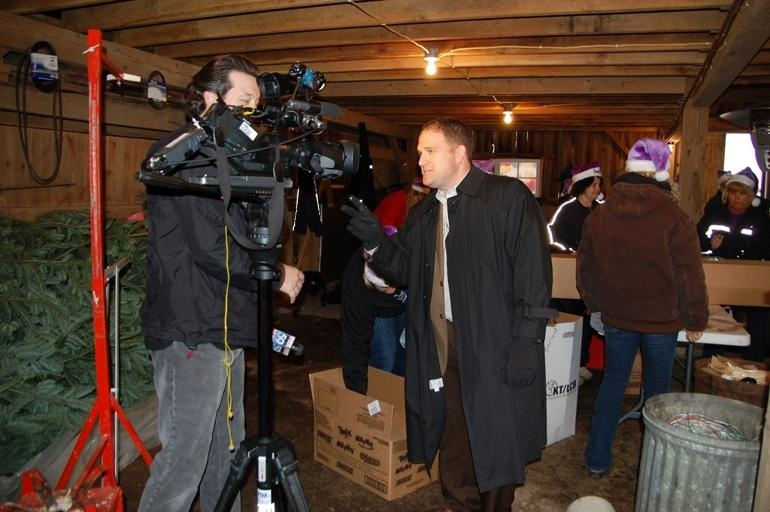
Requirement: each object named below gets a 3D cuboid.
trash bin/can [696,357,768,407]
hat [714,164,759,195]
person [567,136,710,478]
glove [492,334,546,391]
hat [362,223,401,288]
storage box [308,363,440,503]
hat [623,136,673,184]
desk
[{"bbox_3d":[2.637,0.929,4.464,0.286,0.295,0.319,-9,11,-36],"label":"trash bin/can"},{"bbox_3d":[3.840,-0.860,6.531,0.324,0.321,0.467,-3,12,-45],"label":"hat"},{"bbox_3d":[1.977,0.540,4.602,0.940,2.376,0.409,3,6,15],"label":"person"},{"bbox_3d":[0.904,0.641,3.837,0.219,0.384,0.304,2,46,6],"label":"glove"},{"bbox_3d":[-0.064,0.030,4.430,0.181,0.450,0.341,20,12,-11],"label":"hat"},{"bbox_3d":[-0.100,1.382,4.690,0.945,0.678,0.528,7,5,43],"label":"storage box"},{"bbox_3d":[2.283,-0.837,5.130,0.380,0.363,0.402,10,21,39],"label":"hat"},{"bbox_3d":[2.616,0.700,5.223,1.054,1.294,1.426,1,6,31],"label":"desk"}]
